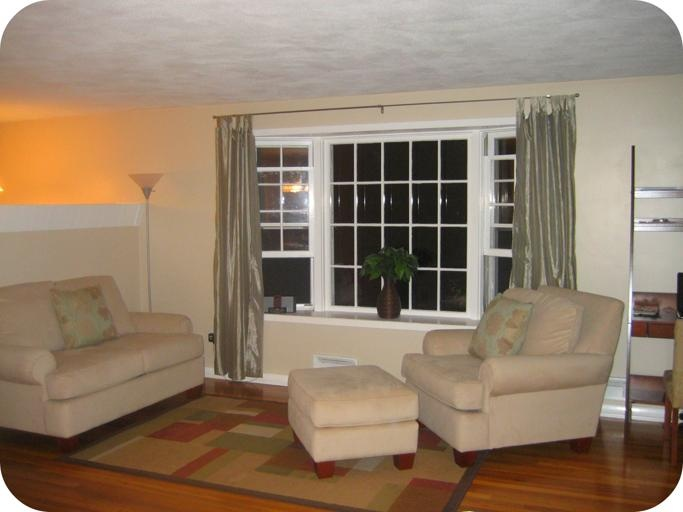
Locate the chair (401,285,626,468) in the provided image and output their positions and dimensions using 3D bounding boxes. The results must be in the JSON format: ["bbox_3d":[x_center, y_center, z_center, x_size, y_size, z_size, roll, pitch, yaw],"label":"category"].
[{"bbox_3d":[1.325,0.923,4.485,1.392,1.130,1.373,0,1,-15],"label":"chair"}]

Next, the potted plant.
[{"bbox_3d":[0.490,0.315,5.654,0.694,0.782,0.634,0,-2,-1],"label":"potted plant"}]

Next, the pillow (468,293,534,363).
[{"bbox_3d":[1.276,0.617,4.410,0.194,0.478,0.472,31,-6,-22],"label":"pillow"}]

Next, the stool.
[{"bbox_3d":[0.095,1.160,3.983,0.695,0.475,0.765,1,2,-21],"label":"stool"}]

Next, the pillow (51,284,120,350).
[{"bbox_3d":[-2.348,0.576,4.899,0.157,0.598,0.664,-20,-15,21],"label":"pillow"}]
